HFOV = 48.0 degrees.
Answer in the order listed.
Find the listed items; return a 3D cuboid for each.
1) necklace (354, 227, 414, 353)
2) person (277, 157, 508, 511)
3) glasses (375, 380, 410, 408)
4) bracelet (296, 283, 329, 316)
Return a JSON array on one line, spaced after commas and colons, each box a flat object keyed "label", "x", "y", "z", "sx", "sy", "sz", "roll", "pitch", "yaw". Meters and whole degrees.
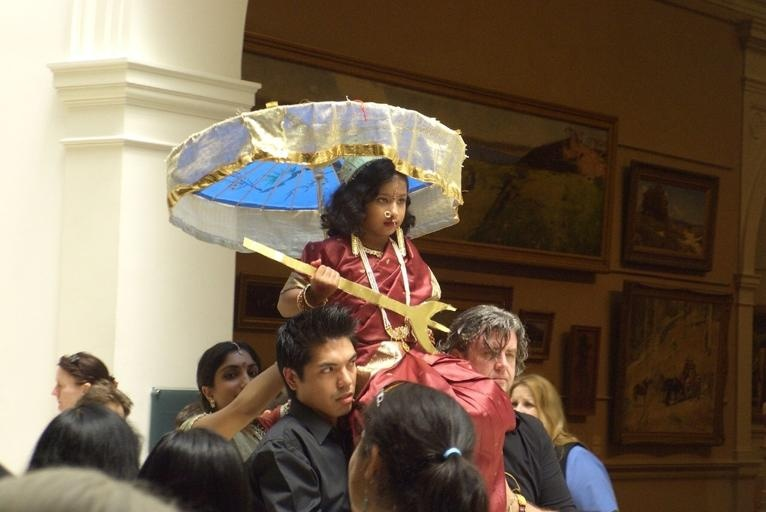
[{"label": "necklace", "x": -0.007, "y": 0.217, "z": 5.531, "sx": 0.304, "sy": 0.732, "sz": 0.107, "roll": -6, "pitch": -22, "yaw": -26}, {"label": "person", "x": 0.088, "y": 0.426, "z": 5.332, "sx": 1.457, "sy": 2.111, "sz": 0.707, "roll": -4, "pitch": -13, "yaw": 26}, {"label": "glasses", "x": 0.033, "y": 0.717, "z": 4.478, "sx": 0.168, "sy": 0.148, "sz": 0.298, "roll": 4, "pitch": -13, "yaw": -6}, {"label": "bracelet", "x": -0.434, "y": 0.283, "z": 5.313, "sx": 0.150, "sy": 0.187, "sz": 0.120, "roll": 10, "pitch": -16, "yaw": -43}]
